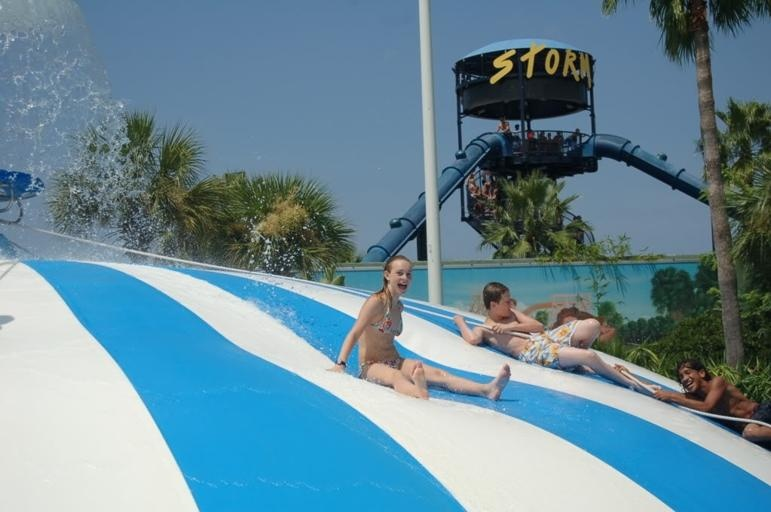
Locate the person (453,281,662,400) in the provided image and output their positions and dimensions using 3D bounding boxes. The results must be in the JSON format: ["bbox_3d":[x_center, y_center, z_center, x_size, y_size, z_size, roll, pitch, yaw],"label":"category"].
[{"bbox_3d":[2.147,0.992,9.231,2.683,1.500,0.996,-4,-1,44],"label":"person"}]
